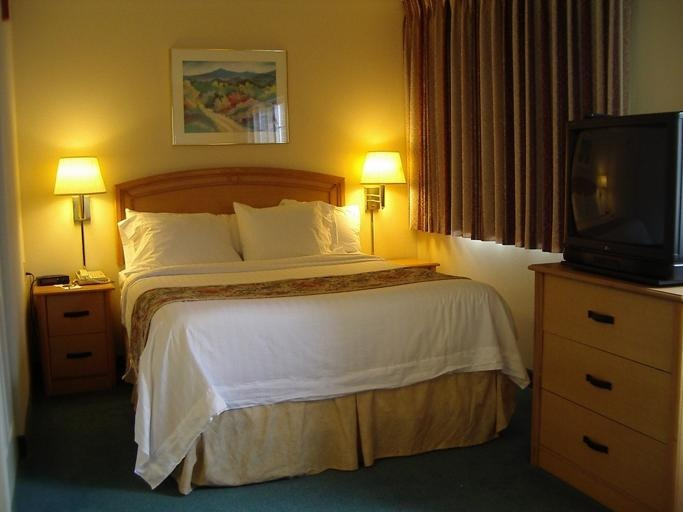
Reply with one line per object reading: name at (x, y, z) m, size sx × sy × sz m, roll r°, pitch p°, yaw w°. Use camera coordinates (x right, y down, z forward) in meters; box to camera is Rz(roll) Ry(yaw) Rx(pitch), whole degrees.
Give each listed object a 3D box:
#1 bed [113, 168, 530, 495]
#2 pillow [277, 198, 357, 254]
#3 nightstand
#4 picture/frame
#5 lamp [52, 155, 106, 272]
bed at (-0.489, 0.387, 4.144) m, size 1.852 × 1.459 × 2.217 m, roll -4°, pitch 7°, yaw -23°
pillow at (-0.225, -0.236, 4.956) m, size 0.455 × 0.175 × 0.440 m, roll 6°, pitch 46°, yaw -20°
nightstand at (-1.995, 0.541, 4.650) m, size 0.767 × 1.157 × 0.683 m, roll -3°, pitch 4°, yaw -25°
picture/frame at (-1.050, -1.432, 5.138) m, size 0.793 × 0.658 × 0.016 m, roll -3°, pitch 8°, yaw -16°
lamp at (-2.111, -0.335, 4.707) m, size 0.362 × 0.917 × 0.281 m, roll -6°, pitch 13°, yaw -23°
